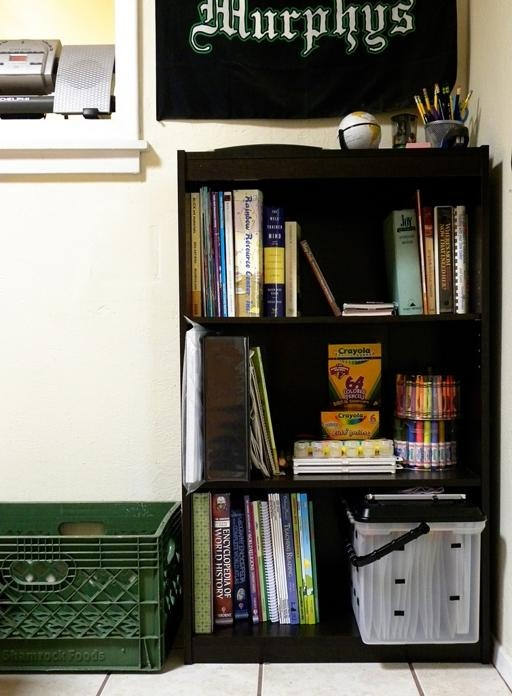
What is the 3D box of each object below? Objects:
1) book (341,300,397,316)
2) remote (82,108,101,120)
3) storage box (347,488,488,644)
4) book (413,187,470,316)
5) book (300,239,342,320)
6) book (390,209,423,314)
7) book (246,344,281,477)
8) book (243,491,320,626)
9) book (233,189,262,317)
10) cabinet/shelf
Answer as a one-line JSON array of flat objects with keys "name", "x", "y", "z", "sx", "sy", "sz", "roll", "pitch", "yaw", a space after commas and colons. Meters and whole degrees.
[{"name": "book", "x": 0.286, "y": -0.093, "z": 1.804, "sx": 0.130, "sy": 0.035, "sz": 0.145, "roll": -1, "pitch": 3, "yaw": 13}, {"name": "remote", "x": -0.460, "y": -0.653, "z": 2.006, "sx": 0.048, "sy": 0.027, "sz": 0.033, "roll": -2, "pitch": 2, "yaw": -14}, {"name": "storage box", "x": 0.380, "y": 0.537, "z": 1.720, "sx": 0.287, "sy": 0.381, "sz": 0.361, "roll": -1, "pitch": -5, "yaw": 12}, {"name": "book", "x": 0.462, "y": -0.225, "z": 1.786, "sx": 0.086, "sy": 0.311, "sz": 0.294, "roll": -1, "pitch": 2, "yaw": 5}, {"name": "book", "x": 0.179, "y": -0.189, "z": 1.972, "sx": 0.020, "sy": 0.216, "sz": 0.127, "roll": -25, "pitch": 33, "yaw": 14}, {"name": "book", "x": 0.384, "y": -0.217, "z": 1.812, "sx": 0.067, "sy": 0.242, "sz": 0.227, "roll": -2, "pitch": -4, "yaw": 3}, {"name": "book", "x": 0.021, "y": 0.162, "z": 1.785, "sx": 0.071, "sy": 0.321, "sz": 0.108, "roll": -1, "pitch": 2, "yaw": 2}, {"name": "book", "x": 0.068, "y": 0.537, "z": 2.048, "sx": 0.233, "sy": 0.512, "sz": 0.335, "roll": -1, "pitch": -1, "yaw": -3}, {"name": "book", "x": -0.020, "y": -0.233, "z": 1.777, "sx": 0.067, "sy": 0.309, "sz": 0.029, "roll": -1, "pitch": 2, "yaw": -12}, {"name": "cabinet/shelf", "x": 0.272, "y": 0.141, "z": 1.864, "sx": 0.654, "sy": 1.239, "sz": 0.308, "roll": -1, "pitch": -4, "yaw": 18}]
